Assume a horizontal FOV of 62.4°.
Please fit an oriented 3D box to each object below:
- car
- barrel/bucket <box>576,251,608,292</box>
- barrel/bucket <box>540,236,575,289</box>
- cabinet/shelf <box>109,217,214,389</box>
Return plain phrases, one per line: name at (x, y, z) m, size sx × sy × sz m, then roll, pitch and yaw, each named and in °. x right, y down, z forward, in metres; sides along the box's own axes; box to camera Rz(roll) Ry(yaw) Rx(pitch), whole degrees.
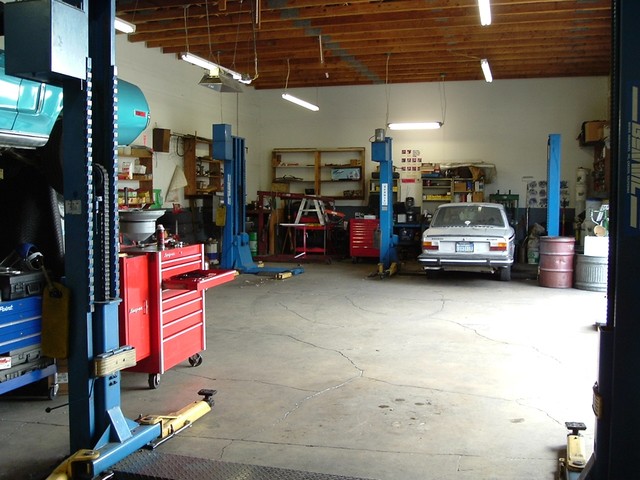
car at (2.552, 0.069, 9.094) m, size 1.597 × 1.134 × 2.763 m, roll -1°, pitch 1°, yaw 14°
barrel/bucket at (4.460, 0.543, 8.709) m, size 0.555 × 0.592 × 0.541 m, roll 2°, pitch 1°, yaw 0°
barrel/bucket at (4.044, 0.367, 8.995) m, size 0.589 × 0.845 × 0.583 m, roll 0°, pitch 3°, yaw 0°
cabinet/shelf at (-1.482, 0.637, 4.648) m, size 0.523 × 1.124 × 1.337 m, roll -3°, pitch 0°, yaw 8°
